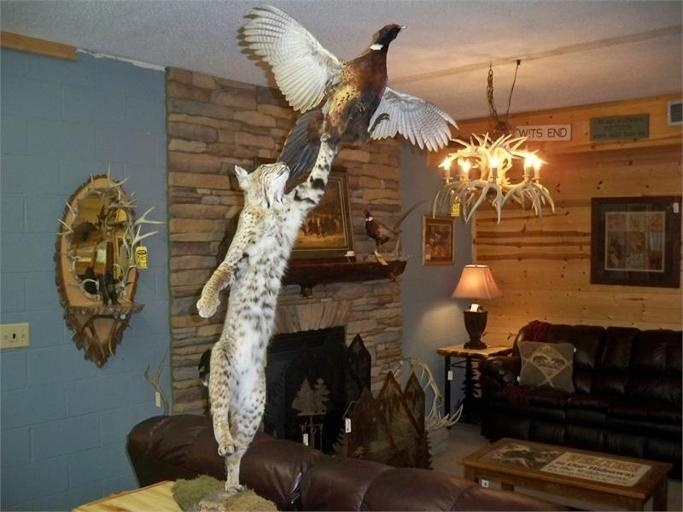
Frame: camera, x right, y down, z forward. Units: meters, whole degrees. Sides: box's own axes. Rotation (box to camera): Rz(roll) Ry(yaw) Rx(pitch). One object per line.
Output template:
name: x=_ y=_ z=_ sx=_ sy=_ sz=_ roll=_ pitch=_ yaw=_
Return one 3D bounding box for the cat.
cat: x=-0.135 y=0.111 z=1.418 sx=0.282 sy=0.930 sz=0.369 roll=13 pitch=-9 yaw=-15

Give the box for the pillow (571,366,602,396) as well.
pillow: x=2.311 y=1.187 z=4.896 sx=0.221 sy=0.195 sz=0.066 roll=-10 pitch=-33 yaw=20

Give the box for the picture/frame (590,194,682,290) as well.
picture/frame: x=3.013 y=-0.142 z=5.217 sx=0.992 sy=0.966 sz=0.073 roll=3 pitch=3 yaw=31

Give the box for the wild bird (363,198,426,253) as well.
wild bird: x=0.473 y=-0.233 z=4.721 sx=0.299 sy=0.415 sz=0.720 roll=0 pitch=1 yaw=27

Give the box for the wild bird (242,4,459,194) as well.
wild bird: x=0.046 y=-0.438 z=1.508 sx=0.616 sy=0.504 sz=0.278 roll=-2 pitch=2 yaw=-44
